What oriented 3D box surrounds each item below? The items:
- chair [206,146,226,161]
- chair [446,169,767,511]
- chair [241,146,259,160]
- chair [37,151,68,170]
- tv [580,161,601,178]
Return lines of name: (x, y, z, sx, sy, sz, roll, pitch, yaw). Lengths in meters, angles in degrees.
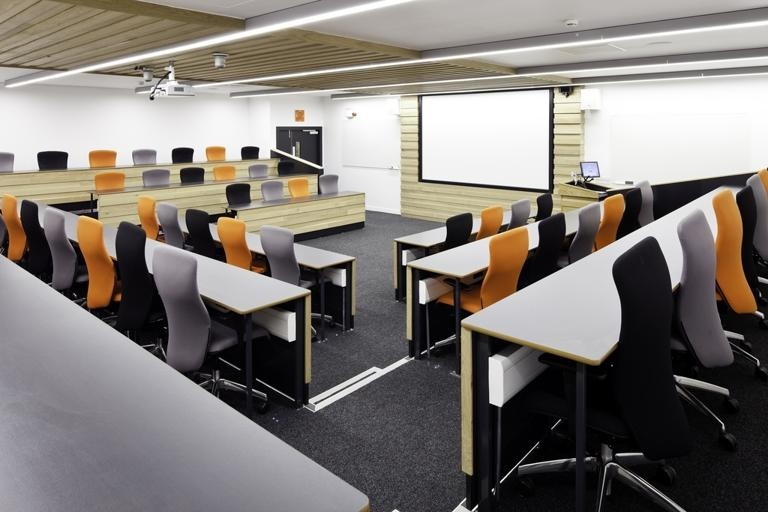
chair: (-3.977, -2.462, 11.719, 0.396, 0.319, 0.850, -6, 13, -21)
chair: (1.356, 0.681, 3.351, 0.942, 1.277, 2.094, 8, 15, 33)
chair: (-3.279, -2.572, 12.134, 0.405, 0.274, 0.458, -4, 13, -16)
chair: (-6.349, -1.861, 9.487, 0.445, 0.484, 0.423, 17, 18, 37)
tv: (3.799, -1.621, 9.152, 0.454, 0.283, 0.063, -1, 4, 1)
